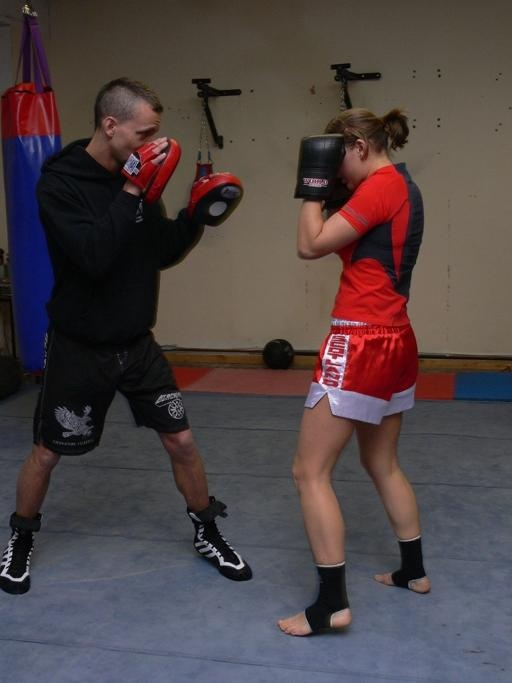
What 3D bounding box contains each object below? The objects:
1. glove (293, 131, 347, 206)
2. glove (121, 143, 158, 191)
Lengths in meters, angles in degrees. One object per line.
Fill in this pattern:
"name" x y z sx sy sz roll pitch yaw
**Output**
"glove" 0.168 -0.406 1.469 0.103 0.212 0.250 10 28 15
"glove" -0.282 -0.436 1.531 0.080 0.118 0.052 38 16 17
